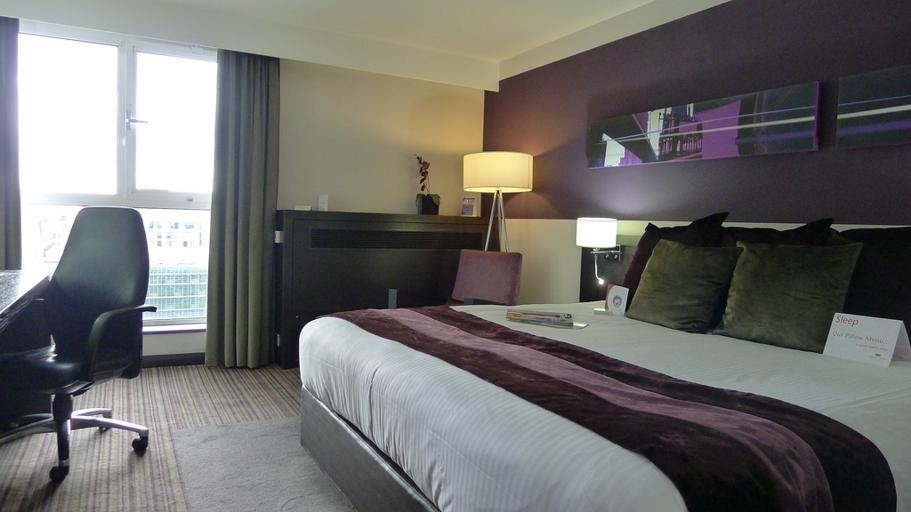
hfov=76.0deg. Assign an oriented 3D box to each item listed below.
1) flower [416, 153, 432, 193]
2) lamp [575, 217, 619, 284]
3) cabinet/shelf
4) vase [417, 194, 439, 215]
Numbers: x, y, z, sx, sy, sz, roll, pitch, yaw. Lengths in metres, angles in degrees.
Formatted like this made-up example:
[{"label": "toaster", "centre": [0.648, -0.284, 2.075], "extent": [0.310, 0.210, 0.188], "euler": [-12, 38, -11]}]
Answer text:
[{"label": "flower", "centre": [-0.344, -0.931, 6.543], "extent": [0.186, 0.409, 0.121], "euler": [-2, 8, -30]}, {"label": "lamp", "centre": [1.284, -0.044, 5.345], "extent": [0.444, 0.583, 0.423], "euler": [1, 4, 6]}, {"label": "cabinet/shelf", "centre": [-0.805, 0.274, 6.482], "extent": [2.430, 1.521, 0.764], "euler": [1, 7, -27]}, {"label": "vase", "centre": [-0.312, -0.546, 6.385], "extent": [0.273, 0.232, 0.222], "euler": [1, -1, -26]}]
